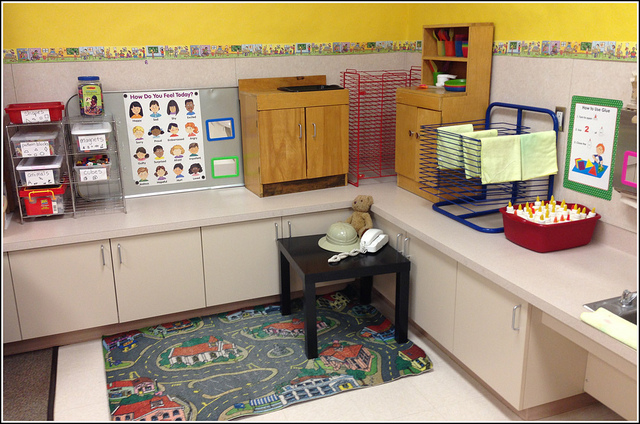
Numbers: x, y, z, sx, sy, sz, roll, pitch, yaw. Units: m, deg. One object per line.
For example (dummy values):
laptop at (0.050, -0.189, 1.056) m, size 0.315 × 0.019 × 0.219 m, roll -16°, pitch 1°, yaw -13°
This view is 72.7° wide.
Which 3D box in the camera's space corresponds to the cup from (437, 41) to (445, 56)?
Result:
cup at (0.982, -1.332, 3.544) m, size 0.032 × 0.114 × 0.065 m, roll -19°, pitch 24°, yaw -36°

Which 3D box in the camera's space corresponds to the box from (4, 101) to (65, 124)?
box at (-2.037, -0.709, 3.131) m, size 0.338 × 0.137 × 0.089 m, roll -7°, pitch 19°, yaw -9°

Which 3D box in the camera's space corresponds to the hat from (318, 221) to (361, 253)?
hat at (0.144, 0.175, 3.312) m, size 0.348 × 0.141 × 0.333 m, roll 1°, pitch 19°, yaw -33°

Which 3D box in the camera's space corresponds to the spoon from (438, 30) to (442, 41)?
spoon at (0.978, -1.436, 3.537) m, size 0.031 × 0.082 × 0.066 m, roll 1°, pitch 20°, yaw 15°

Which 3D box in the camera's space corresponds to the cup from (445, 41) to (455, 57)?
cup at (1.034, -1.298, 3.451) m, size 0.097 × 0.100 × 0.097 m, roll -4°, pitch 14°, yaw 1°

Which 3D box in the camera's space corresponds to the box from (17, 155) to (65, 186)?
box at (-2.038, -0.316, 3.161) m, size 0.219 × 0.135 × 0.311 m, roll -5°, pitch 16°, yaw -21°

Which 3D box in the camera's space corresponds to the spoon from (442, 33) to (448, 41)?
spoon at (1.009, -1.404, 3.492) m, size 0.038 × 0.059 × 0.085 m, roll -6°, pitch 18°, yaw -4°

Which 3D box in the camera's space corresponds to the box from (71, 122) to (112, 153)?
box at (-1.696, -0.560, 3.248) m, size 0.254 × 0.177 × 0.307 m, roll -5°, pitch 12°, yaw -21°

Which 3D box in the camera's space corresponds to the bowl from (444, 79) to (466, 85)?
bowl at (1.056, -1.009, 3.385) m, size 0.146 × 0.036 × 0.139 m, roll -3°, pitch 18°, yaw 1°

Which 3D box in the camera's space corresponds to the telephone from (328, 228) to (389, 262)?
telephone at (0.281, 0.214, 3.139) m, size 0.471 × 0.119 × 0.186 m, roll -28°, pitch 30°, yaw -28°

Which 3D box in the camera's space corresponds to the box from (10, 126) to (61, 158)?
box at (-2.084, -0.519, 3.233) m, size 0.323 × 0.224 × 0.394 m, roll -14°, pitch 21°, yaw -28°

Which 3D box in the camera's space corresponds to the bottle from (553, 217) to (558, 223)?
bottle at (1.427, 0.051, 2.635) m, size 0.030 × 0.029 × 0.027 m, roll -1°, pitch 9°, yaw -11°

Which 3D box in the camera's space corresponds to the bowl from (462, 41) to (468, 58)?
bowl at (1.114, -1.253, 3.342) m, size 0.036 × 0.117 × 0.093 m, roll 1°, pitch 20°, yaw 16°

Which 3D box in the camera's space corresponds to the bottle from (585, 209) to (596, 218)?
bottle at (1.679, 0.009, 2.704) m, size 0.063 × 0.057 × 0.041 m, roll -5°, pitch 15°, yaw -12°

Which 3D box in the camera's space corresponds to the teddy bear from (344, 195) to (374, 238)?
teddy bear at (0.310, 0.042, 3.372) m, size 0.177 × 0.292 × 0.323 m, roll 4°, pitch 3°, yaw -30°

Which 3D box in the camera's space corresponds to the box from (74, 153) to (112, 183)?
box at (-1.750, -0.367, 3.308) m, size 0.316 × 0.159 × 0.290 m, roll -3°, pitch 44°, yaw -25°

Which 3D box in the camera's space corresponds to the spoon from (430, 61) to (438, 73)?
spoon at (0.979, -1.232, 3.680) m, size 0.067 × 0.088 × 0.081 m, roll 14°, pitch 26°, yaw 42°

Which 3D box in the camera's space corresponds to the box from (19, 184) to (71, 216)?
box at (-2.047, -0.091, 3.237) m, size 0.270 × 0.149 × 0.238 m, roll -6°, pitch 13°, yaw -31°

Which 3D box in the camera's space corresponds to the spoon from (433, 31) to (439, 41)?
spoon at (0.961, -1.457, 3.600) m, size 0.016 × 0.076 × 0.053 m, roll -21°, pitch 25°, yaw -38°
